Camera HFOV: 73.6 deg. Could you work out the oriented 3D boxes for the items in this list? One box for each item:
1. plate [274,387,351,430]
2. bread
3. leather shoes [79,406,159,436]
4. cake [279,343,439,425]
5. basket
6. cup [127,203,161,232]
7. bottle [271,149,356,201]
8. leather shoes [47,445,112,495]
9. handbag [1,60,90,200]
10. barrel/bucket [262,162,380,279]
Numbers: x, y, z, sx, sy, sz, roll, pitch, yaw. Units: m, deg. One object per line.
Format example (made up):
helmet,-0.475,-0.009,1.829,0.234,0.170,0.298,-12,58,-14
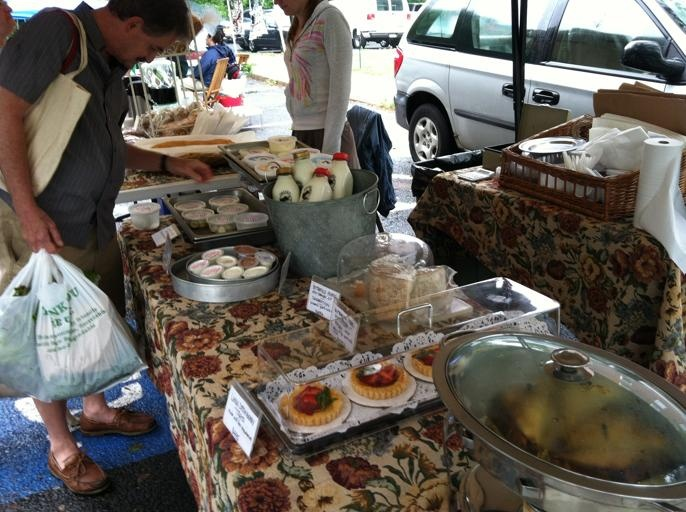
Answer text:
plate,-0.077,0.344,1.067,0.140,0.043,0.141,22,27,39
bread,0.176,0.074,1.304,0.192,0.106,0.141,-17,31,-15
leather shoes,-1.055,0.810,2.206,0.329,0.121,0.145,-2,18,-13
cake,0.035,0.350,1.080,0.355,0.031,0.132,-12,48,-21
basket,0.971,-0.318,2.015,0.558,0.166,0.535,-28,24,-27
cup,-0.916,-0.197,2.152,0.145,0.099,0.136,3,24,-1
bottle,-0.120,-0.274,1.619,0.288,0.249,0.149,-4,42,-9
leather shoes,-1.129,0.906,1.959,0.338,0.118,0.145,11,16,29
handbag,-0.937,-0.419,1.524,0.261,0.388,0.129,-16,34,-25
barrel/bucket,-0.049,-0.109,1.696,0.395,0.281,0.431,-4,23,2
